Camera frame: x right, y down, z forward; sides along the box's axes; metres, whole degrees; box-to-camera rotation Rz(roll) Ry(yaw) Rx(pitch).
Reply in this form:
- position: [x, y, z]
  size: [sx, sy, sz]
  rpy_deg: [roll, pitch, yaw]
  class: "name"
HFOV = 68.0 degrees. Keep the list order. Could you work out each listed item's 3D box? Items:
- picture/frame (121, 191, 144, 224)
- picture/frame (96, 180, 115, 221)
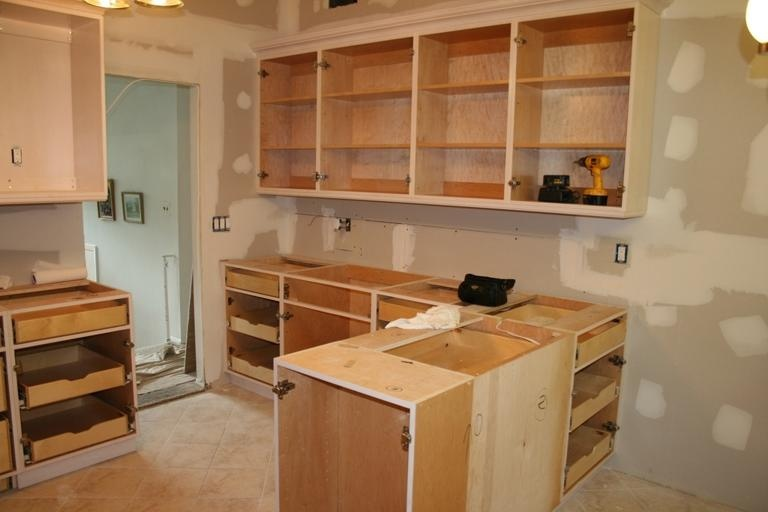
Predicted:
- position: [-2.402, -0.483, 5.480]
  size: [0.322, 0.329, 0.035]
  rpy_deg: [4, 7, 33]
  class: "picture/frame"
- position: [-2.451, -0.509, 5.058]
  size: [0.046, 0.411, 0.413]
  rpy_deg: [2, -2, -37]
  class: "picture/frame"
